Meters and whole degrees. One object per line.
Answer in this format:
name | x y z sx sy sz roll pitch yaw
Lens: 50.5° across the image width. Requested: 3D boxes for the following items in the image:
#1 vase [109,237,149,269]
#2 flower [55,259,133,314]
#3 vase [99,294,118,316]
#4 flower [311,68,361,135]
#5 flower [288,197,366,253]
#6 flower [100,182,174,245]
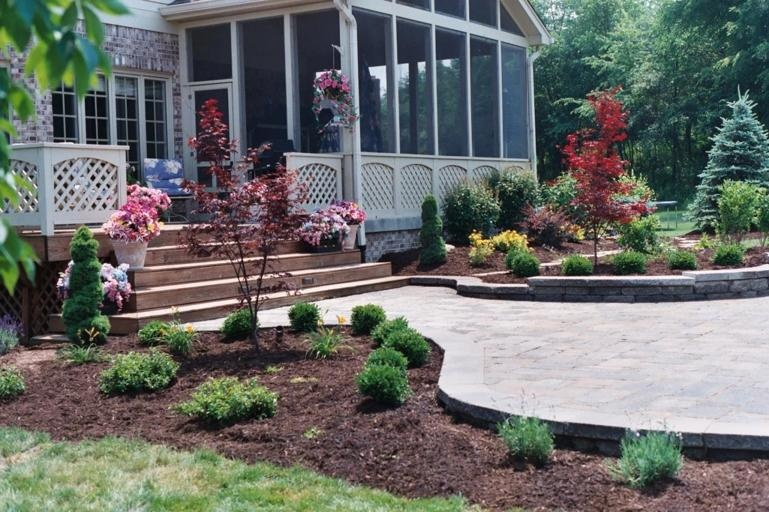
vase | -3.642 -0.048 11.698 0.445 0.382 0.442 -1 -1 -41
flower | -3.800 0.499 11.078 0.680 0.632 0.876 5 10 -21
vase | -3.773 0.653 11.187 0.239 0.193 0.243 0 -4 -8
flower | -0.889 -2.908 15.052 0.818 1.044 0.544 -3 6 -6
flower | -0.666 -0.554 14.377 0.923 0.695 0.953 6 12 41
flower | -3.590 -0.620 11.768 0.671 0.802 0.932 -2 6 2
